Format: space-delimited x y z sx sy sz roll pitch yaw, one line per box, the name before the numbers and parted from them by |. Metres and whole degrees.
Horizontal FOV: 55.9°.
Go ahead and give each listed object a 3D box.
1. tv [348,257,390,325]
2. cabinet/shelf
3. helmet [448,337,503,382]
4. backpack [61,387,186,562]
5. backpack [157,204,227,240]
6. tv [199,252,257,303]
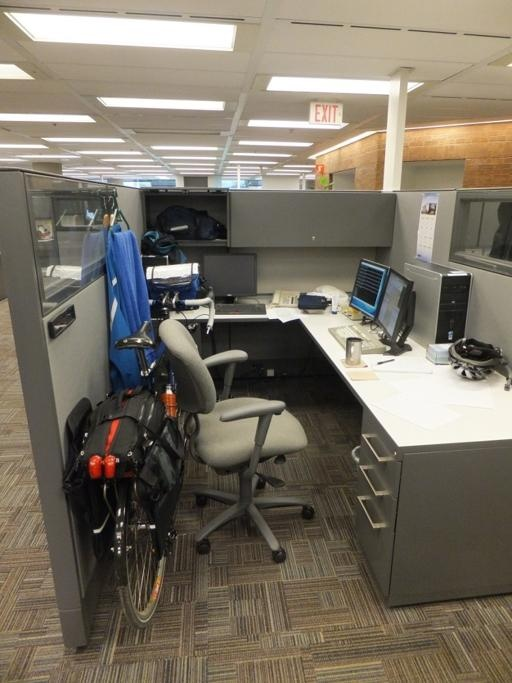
tv | 0.663 -0.287 2.802 0.048 0.351 0.478 17 20 -13
cabinet/shelf | 0.112 -0.856 3.417 1.638 0.428 0.472 -1 19 -2
helmet | 0.916 0.083 2.026 0.194 0.100 0.144 -10 28 -12
backpack | -0.295 0.367 1.545 0.354 0.457 0.456 -5 30 1
backpack | -0.461 -0.826 3.365 0.361 0.131 0.285 6 20 -8
tv | -0.195 -0.445 3.372 0.445 0.375 0.046 0 7 -3
